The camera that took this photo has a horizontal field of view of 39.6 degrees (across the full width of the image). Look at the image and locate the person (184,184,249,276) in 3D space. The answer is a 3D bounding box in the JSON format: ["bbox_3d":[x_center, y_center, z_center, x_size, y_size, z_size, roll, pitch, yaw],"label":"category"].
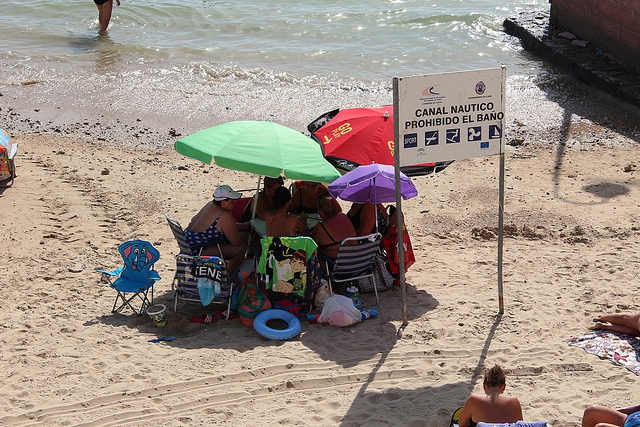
[{"bbox_3d":[-1.931,0.354,16.568,1.306,1.543,0.939,-11,48,-24],"label":"person"}]

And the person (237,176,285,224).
[{"bbox_3d":[-1.064,-0.310,17.101,1.118,1.043,0.842,-3,41,-8],"label":"person"}]

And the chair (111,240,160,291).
[{"bbox_3d":[-3.356,0.905,15.899,0.929,0.701,0.808,17,28,26],"label":"chair"}]

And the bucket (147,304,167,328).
[{"bbox_3d":[-2.947,1.823,16.047,0.324,0.287,0.393,-9,25,-15],"label":"bucket"}]

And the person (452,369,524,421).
[{"bbox_3d":[2.697,2.811,13.874,0.947,0.732,0.432,2,25,9],"label":"person"}]

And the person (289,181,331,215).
[{"bbox_3d":[-0.162,-0.297,16.916,0.754,0.832,0.313,2,53,-5],"label":"person"}]

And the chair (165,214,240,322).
[{"bbox_3d":[-2.123,0.986,16.097,1.208,1.786,0.838,-5,26,-6],"label":"chair"}]

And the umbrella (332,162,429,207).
[{"bbox_3d":[0.975,-0.656,15.886,1.498,0.508,1.418,8,-17,-26],"label":"umbrella"}]

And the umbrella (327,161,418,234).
[{"bbox_3d":[0.912,-0.312,16.528,0.858,1.145,1.824,4,-5,-7],"label":"umbrella"}]

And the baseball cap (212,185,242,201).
[{"bbox_3d":[-1.703,-0.397,16.205,0.438,0.149,0.264,-3,17,-20],"label":"baseball cap"}]

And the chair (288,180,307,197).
[{"bbox_3d":[-0.480,-0.536,17.795,0.340,0.282,0.285,-18,30,-30],"label":"chair"}]
